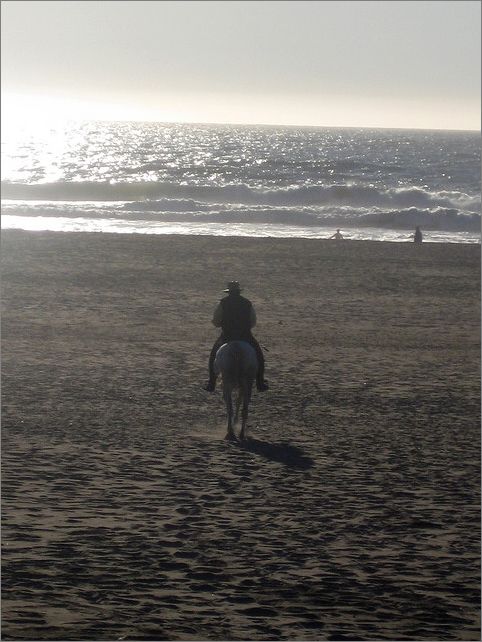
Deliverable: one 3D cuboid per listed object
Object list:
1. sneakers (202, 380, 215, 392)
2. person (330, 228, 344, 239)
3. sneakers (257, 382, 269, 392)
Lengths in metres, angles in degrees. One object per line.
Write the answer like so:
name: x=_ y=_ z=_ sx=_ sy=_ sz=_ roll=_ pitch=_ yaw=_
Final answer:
sneakers: x=-0.382 y=0.764 z=14.339 sx=0.100 sy=0.138 sz=0.230 roll=-5 pitch=-33 yaw=-14
person: x=3.115 y=-2.809 z=39.739 sx=0.546 sy=0.409 sz=0.746 roll=2 pitch=4 yaw=6
sneakers: x=0.247 y=0.754 z=13.910 sx=0.141 sy=0.124 sz=0.129 roll=0 pitch=1 yaw=-3
